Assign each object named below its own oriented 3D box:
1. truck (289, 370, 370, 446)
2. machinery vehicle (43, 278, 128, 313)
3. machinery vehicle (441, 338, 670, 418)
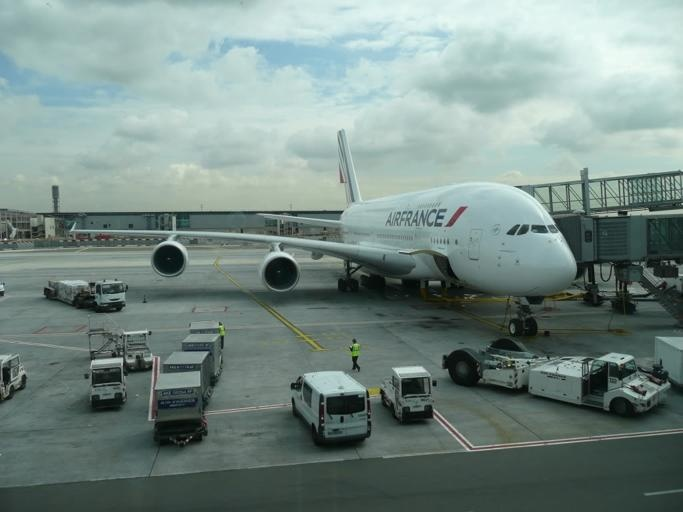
[{"bbox_3d":[-0.384,4.365,19.880,1.546,0.949,2.443,0,3,-14],"label":"truck"},{"bbox_3d":[-15.309,2.301,40.844,2.375,1.916,8.550,-2,2,-42],"label":"machinery vehicle"},{"bbox_3d":[7.708,3.749,23.407,6.934,1.611,3.994,7,14,33],"label":"machinery vehicle"}]
